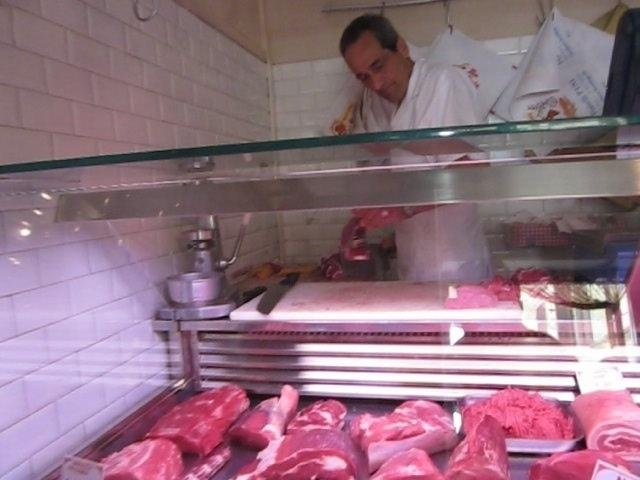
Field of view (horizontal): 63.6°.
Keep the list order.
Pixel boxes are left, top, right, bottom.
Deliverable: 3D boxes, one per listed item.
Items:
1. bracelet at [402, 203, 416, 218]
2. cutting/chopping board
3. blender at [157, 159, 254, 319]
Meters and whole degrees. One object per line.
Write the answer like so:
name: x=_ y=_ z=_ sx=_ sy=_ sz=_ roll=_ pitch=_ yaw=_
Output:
bracelet: x=0.241 y=-0.086 z=1.405 sx=0.027 sy=0.017 sz=0.045 roll=-1 pitch=-2 yaw=2
cutting/chopping board: x=0.145 y=0.160 z=1.416 sx=0.736 sy=0.071 sz=0.306 roll=-2 pitch=3 yaw=14
blender: x=-0.331 y=0.071 z=1.500 sx=0.232 sy=0.278 sz=0.219 roll=-3 pitch=3 yaw=9
